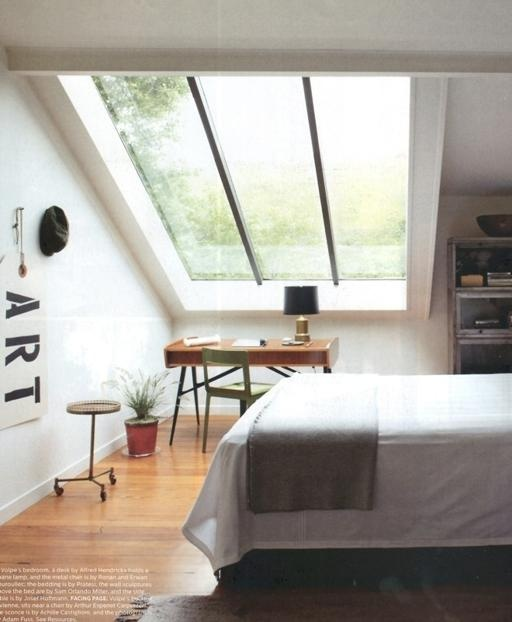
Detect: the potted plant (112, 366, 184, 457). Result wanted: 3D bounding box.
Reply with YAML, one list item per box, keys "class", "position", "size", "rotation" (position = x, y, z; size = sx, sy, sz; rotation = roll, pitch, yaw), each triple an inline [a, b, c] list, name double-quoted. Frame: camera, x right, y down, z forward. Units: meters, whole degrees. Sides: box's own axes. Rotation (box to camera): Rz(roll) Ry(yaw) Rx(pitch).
- class: "potted plant"
  position: [-0.815, 0.689, 4.256]
  size: [0.530, 0.641, 0.452]
  rotation: [0, 0, -3]

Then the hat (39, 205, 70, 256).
- class: "hat"
  position: [-1.098, -0.434, 3.238]
  size: [0.113, 0.282, 0.213]
  rotation: [-2, 2, -1]
